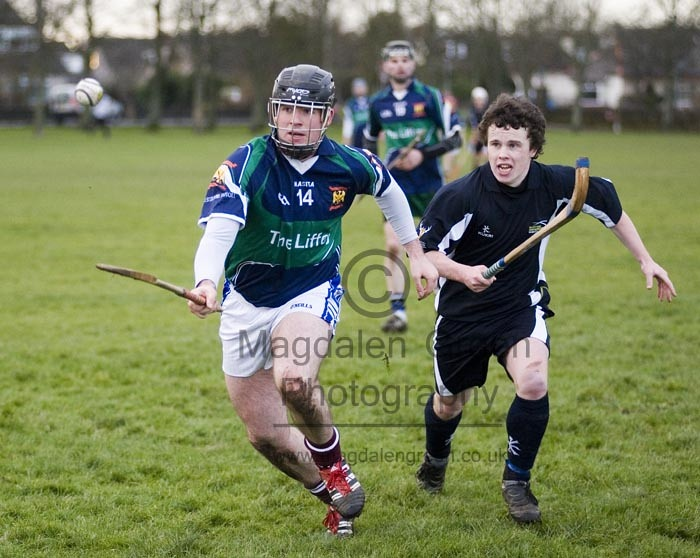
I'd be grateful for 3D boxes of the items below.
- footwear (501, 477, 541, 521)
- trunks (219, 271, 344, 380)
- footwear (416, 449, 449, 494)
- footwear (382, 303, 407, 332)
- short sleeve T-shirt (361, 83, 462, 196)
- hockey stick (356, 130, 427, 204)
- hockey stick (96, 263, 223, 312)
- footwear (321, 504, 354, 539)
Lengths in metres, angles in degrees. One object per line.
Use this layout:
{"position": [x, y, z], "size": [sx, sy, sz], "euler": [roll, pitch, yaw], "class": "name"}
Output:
{"position": [1.385, 1.755, 8.960], "size": [0.316, 0.331, 0.202], "euler": [2, 8, 10], "class": "footwear"}
{"position": [-0.533, 0.329, 9.148], "size": [1.158, 1.119, 0.659], "euler": [2, 3, -15], "class": "trunks"}
{"position": [0.692, 1.608, 9.334], "size": [0.176, 0.369, 0.380], "euler": [9, 29, -11], "class": "footwear"}
{"position": [0.507, 0.439, 12.096], "size": [0.189, 0.313, 0.292], "euler": [1, -2, -45], "class": "footwear"}
{"position": [0.693, -1.561, 12.914], "size": [1.147, 1.452, 0.746], "euler": [-3, 13, 17], "class": "short sleeve T-shirt"}
{"position": [0.528, -1.346, 12.118], "size": [0.235, 0.200, 2.347], "euler": [-30, 15, 21], "class": "hockey stick"}
{"position": [-1.986, 0.098, 11.365], "size": [1.030, 0.088, 0.111], "euler": [27, 36, -22], "class": "hockey stick"}
{"position": [-0.152, 1.936, 8.923], "size": [0.114, 0.257, 0.343], "euler": [2, -3, -34], "class": "footwear"}
